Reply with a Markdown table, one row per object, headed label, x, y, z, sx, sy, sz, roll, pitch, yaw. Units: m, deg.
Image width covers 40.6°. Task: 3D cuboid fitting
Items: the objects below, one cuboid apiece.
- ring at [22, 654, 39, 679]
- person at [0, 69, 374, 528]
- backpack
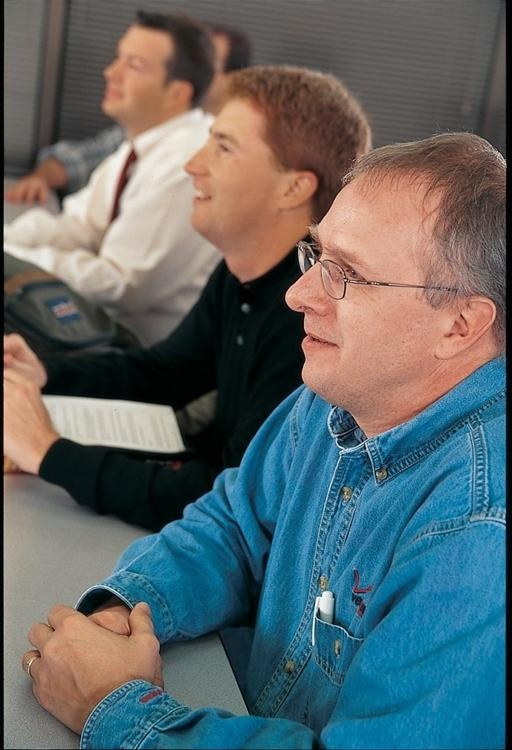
| label | x | y | z | sx | sy | sz | roll | pitch | yaw |
| --- | --- | --- | --- | --- | --- | --- | --- | --- | --- |
| ring | -0.309 | 0.401 | 0.960 | 0.017 | 0.036 | 0.029 | 7 | -5 | -12 |
| person | -0.023 | -0.196 | 1.444 | 0.859 | 0.789 | 0.557 | 9 | 18 | -21 |
| backpack | -0.333 | -0.097 | 1.166 | 0.219 | 0.060 | 0.153 | 32 | 3 | 0 |
